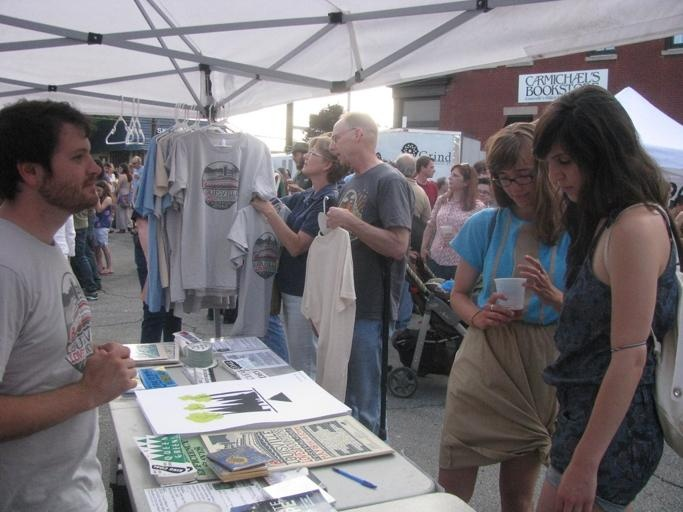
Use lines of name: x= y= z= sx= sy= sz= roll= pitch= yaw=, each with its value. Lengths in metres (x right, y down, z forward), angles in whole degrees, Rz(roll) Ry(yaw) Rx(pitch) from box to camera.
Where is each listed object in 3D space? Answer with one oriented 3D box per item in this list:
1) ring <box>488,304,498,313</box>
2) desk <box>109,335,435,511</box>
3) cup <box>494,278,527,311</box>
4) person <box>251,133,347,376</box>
ring: x=0.731 y=0.252 z=2.532 sx=0.024 sy=0.032 sz=0.018 roll=-10 pitch=-26 yaw=34
desk: x=-0.628 y=0.634 z=2.625 sx=0.926 sy=0.307 sz=1.299 roll=-2 pitch=6 yaw=-24
cup: x=0.806 y=0.182 z=2.544 sx=0.147 sy=0.155 sz=0.151 roll=-6 pitch=2 yaw=0
person: x=-0.525 y=0.086 z=4.529 sx=0.804 sy=2.259 sz=0.668 roll=28 pitch=32 yaw=28
